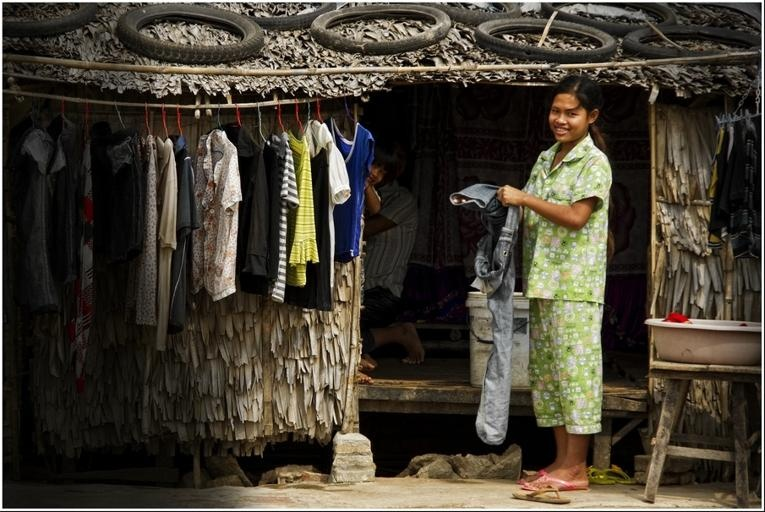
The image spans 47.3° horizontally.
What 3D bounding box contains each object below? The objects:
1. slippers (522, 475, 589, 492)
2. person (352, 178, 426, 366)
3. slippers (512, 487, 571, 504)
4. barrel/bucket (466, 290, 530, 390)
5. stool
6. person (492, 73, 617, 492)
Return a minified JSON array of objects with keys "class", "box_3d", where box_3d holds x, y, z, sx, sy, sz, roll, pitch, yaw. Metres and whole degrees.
[{"class":"slippers","box_3d":[1.276,1.682,6.398,0.371,0.097,0.168,1,-7,3]},{"class":"person","box_3d":[0.027,0.155,8.102,0.498,1.740,0.926,-2,-6,25]},{"class":"slippers","box_3d":[1.146,1.755,6.334,0.326,0.067,0.149,1,3,29]},{"class":"barrel/bucket","box_3d":[0.948,0.711,7.244,0.498,0.811,0.446,4,-1,4]},{"class":"stool","box_3d":[2.341,1.297,6.484,0.818,1.034,0.811,-1,-6,16]},{"class":"person","box_3d":[1.212,0.187,6.528,1.007,2.933,0.969,0,1,-10]}]
